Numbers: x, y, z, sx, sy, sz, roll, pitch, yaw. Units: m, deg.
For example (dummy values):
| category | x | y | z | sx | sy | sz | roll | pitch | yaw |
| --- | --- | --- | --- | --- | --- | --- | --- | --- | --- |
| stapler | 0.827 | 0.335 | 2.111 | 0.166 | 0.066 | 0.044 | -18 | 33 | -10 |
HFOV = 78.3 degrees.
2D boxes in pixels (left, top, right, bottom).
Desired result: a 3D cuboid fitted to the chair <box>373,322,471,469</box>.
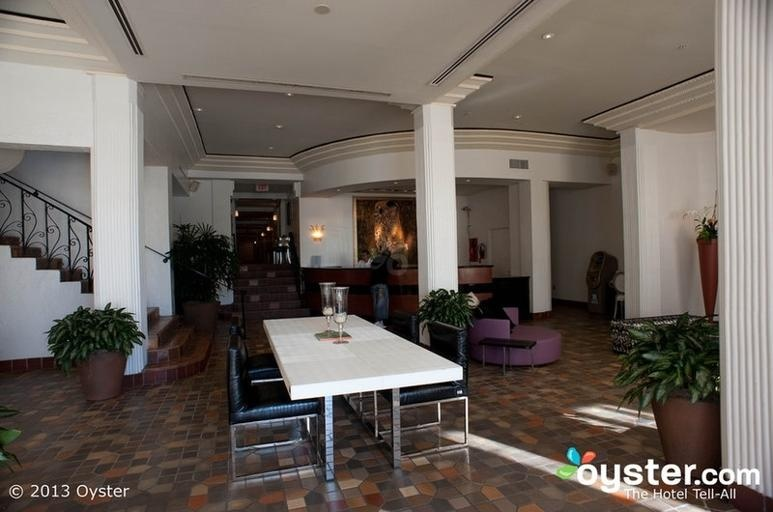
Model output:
| category | x | y | z | sx | sy | sz | roll | pitch | yaw |
| --- | --- | --- | --- | --- | --- | --- | --- | --- | --- |
| chair | 0.269 | 1.530 | 6.039 | 1.267 | 1.979 | 1.395 | 2 | -4 | -21 |

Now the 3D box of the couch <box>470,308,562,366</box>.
| category | x | y | z | sx | sy | sz | roll | pitch | yaw |
| --- | --- | --- | --- | --- | --- | --- | --- | --- | --- |
| couch | 2.262 | 1.347 | 8.221 | 1.465 | 0.771 | 1.494 | -2 | 2 | 31 |

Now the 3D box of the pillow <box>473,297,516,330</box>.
| category | x | y | z | sx | sy | sz | roll | pitch | yaw |
| --- | --- | --- | --- | --- | --- | --- | --- | --- | --- |
| pillow | 1.834 | 0.928 | 8.163 | 0.527 | 0.163 | 0.550 | 12 | 14 | -9 |

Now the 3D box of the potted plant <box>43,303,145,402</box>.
| category | x | y | z | sx | sy | sz | roll | pitch | yaw |
| --- | --- | --- | --- | --- | --- | --- | --- | --- | --- |
| potted plant | -4.002 | 1.177 | 6.910 | 1.499 | 1.407 | 1.216 | 1 | 1 | -8 |

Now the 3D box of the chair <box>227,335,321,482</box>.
| category | x | y | z | sx | sy | sz | roll | pitch | yaw |
| --- | --- | --- | --- | --- | --- | --- | --- | --- | --- |
| chair | -1.443 | 1.478 | 5.803 | 1.000 | 1.334 | 2.035 | -3 | 5 | -17 |

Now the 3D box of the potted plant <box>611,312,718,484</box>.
| category | x | y | z | sx | sy | sz | roll | pitch | yaw |
| --- | --- | --- | --- | --- | --- | --- | --- | --- | --- |
| potted plant | 2.972 | 1.386 | 5.277 | 1.398 | 1.425 | 1.380 | 0 | -3 | 22 |

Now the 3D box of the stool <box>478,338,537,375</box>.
| category | x | y | z | sx | sy | sz | roll | pitch | yaw |
| --- | --- | --- | --- | --- | --- | --- | --- | --- | --- |
| stool | 1.932 | 1.404 | 7.518 | 0.911 | 0.531 | 0.496 | 2 | 7 | 32 |
